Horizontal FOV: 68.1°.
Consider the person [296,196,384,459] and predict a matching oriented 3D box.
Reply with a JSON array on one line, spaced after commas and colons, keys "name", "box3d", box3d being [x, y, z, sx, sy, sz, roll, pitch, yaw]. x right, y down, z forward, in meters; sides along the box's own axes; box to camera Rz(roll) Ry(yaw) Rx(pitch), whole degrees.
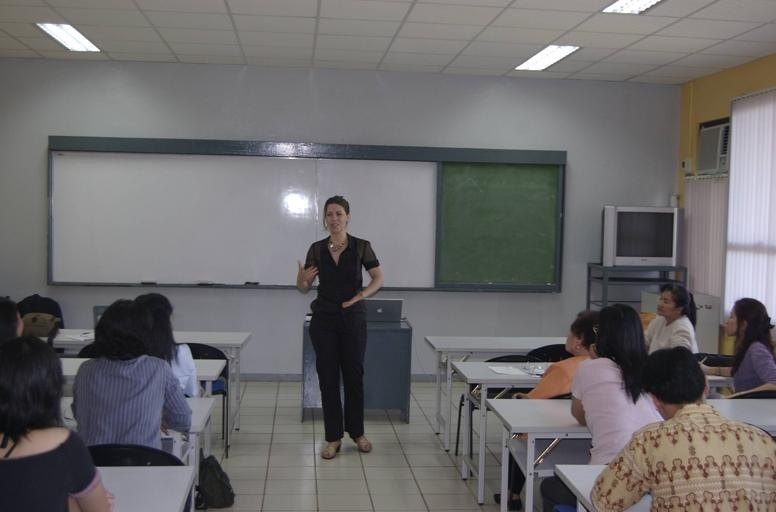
[{"name": "person", "box3d": [-0.411, 0.614, 4.892, 0.693, 2.218, 0.289, 2, 7, -1]}]

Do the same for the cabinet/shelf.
[{"name": "cabinet/shelf", "box3d": [3.115, 0.563, 7.166, 1.105, 0.926, 0.593, 6, -2, 26]}]

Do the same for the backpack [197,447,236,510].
[{"name": "backpack", "box3d": [-1.302, 1.629, 4.371, 0.328, 0.554, 0.454, -3, -7, -15]}]

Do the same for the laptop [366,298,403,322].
[{"name": "laptop", "box3d": [-0.038, 0.560, 5.884, 0.348, 0.218, 0.235, 1, 13, -4]}]

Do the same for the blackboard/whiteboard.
[{"name": "blackboard/whiteboard", "box3d": [-0.968, -0.480, 6.923, 5.962, 1.742, 0.263, 1, 7, -4]}]

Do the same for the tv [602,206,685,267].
[{"name": "tv", "box3d": [3.025, -0.258, 7.104, 1.199, 0.913, 0.653, 1, 0, 1]}]
